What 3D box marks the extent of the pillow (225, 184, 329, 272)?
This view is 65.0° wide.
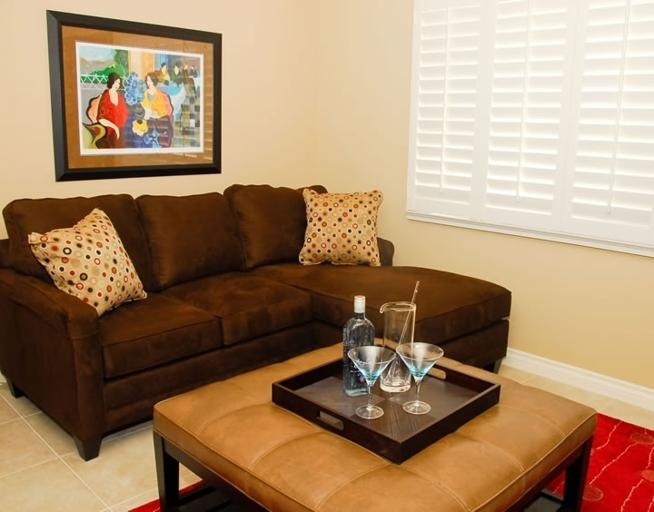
[{"bbox_3d":[-0.446,-0.316,3.808,0.707,0.179,0.752,-11,-29,23],"label":"pillow"}]

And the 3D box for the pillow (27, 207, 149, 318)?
[{"bbox_3d":[-1.180,0.039,2.648,0.160,0.533,0.531,-32,-15,25],"label":"pillow"}]

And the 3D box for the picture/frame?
[{"bbox_3d":[-1.320,-1.085,3.417,1.257,1.085,0.062,-6,14,-39],"label":"picture/frame"}]
